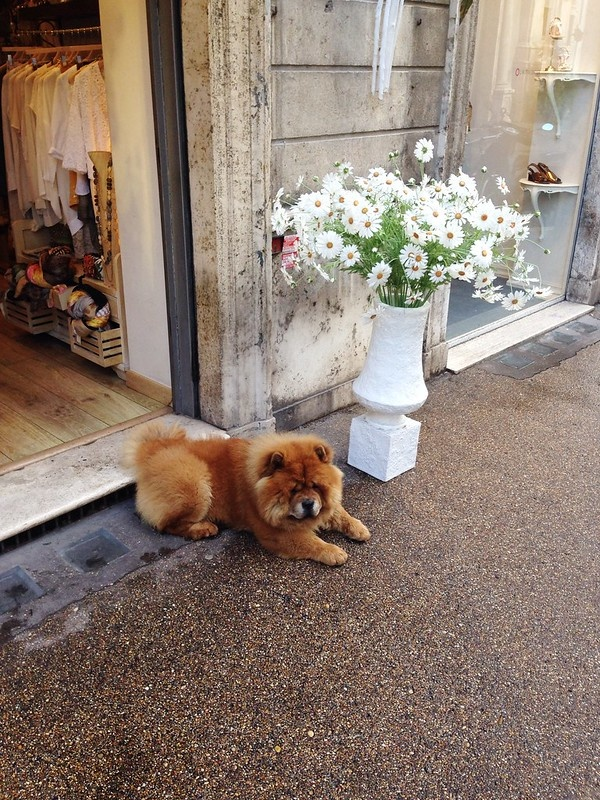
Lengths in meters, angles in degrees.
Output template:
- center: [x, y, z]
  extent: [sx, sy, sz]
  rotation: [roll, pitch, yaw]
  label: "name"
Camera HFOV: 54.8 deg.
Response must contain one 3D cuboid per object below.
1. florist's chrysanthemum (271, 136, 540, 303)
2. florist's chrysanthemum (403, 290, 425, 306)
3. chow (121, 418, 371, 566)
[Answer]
- center: [0.437, -0.685, 2.786]
  extent: [1.035, 0.778, 1.134]
  rotation: [0, 27, -5]
  label: "florist's chrysanthemum"
- center: [0.508, -0.439, 2.571]
  extent: [0.076, 0.040, 0.079]
  rotation: [7, 6, 2]
  label: "florist's chrysanthemum"
- center: [-0.249, 0.340, 2.275]
  extent: [0.925, 0.496, 0.365]
  rotation: [10, 26, 15]
  label: "chow"
